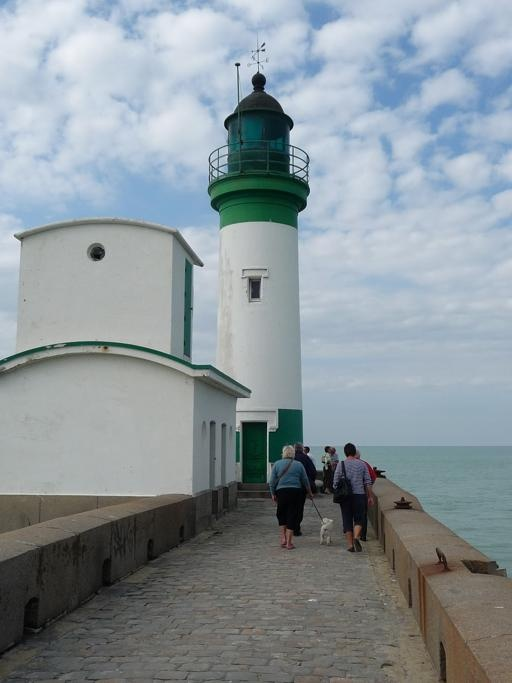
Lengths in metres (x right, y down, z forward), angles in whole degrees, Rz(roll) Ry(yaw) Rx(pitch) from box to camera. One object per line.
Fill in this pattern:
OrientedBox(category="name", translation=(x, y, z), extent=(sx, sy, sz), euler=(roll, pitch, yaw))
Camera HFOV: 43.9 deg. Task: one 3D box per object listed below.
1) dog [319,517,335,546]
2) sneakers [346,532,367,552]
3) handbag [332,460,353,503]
OrientedBox(category="dog", translation=(1.207, 3.236, 10.919), extent=(0.185, 0.342, 0.598), euler=(0, 3, 5))
OrientedBox(category="sneakers", translation=(1.555, 3.180, 10.050), extent=(0.239, 0.259, 0.436), euler=(-1, -10, 8))
OrientedBox(category="handbag", translation=(1.341, 2.255, 10.088), extent=(0.214, 0.662, 0.334), euler=(7, -11, -36))
